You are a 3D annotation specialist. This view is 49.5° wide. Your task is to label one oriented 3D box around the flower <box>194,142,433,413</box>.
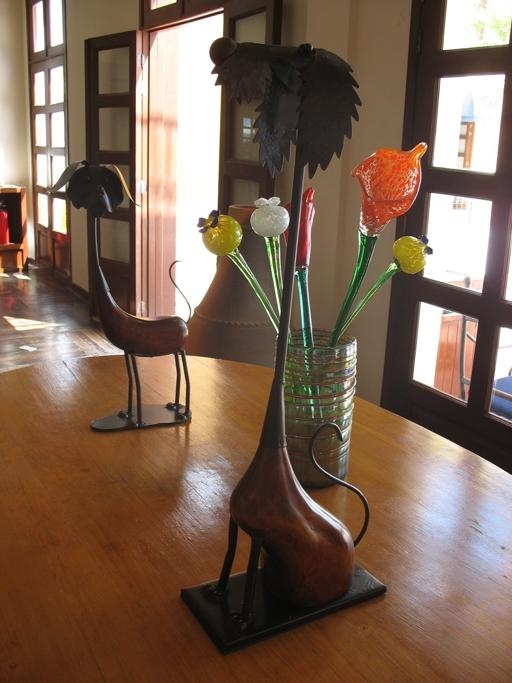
[{"bbox_3d":[0.075,-0.100,0.708,0.219,0.333,0.216,3,13,-17],"label":"flower"}]
